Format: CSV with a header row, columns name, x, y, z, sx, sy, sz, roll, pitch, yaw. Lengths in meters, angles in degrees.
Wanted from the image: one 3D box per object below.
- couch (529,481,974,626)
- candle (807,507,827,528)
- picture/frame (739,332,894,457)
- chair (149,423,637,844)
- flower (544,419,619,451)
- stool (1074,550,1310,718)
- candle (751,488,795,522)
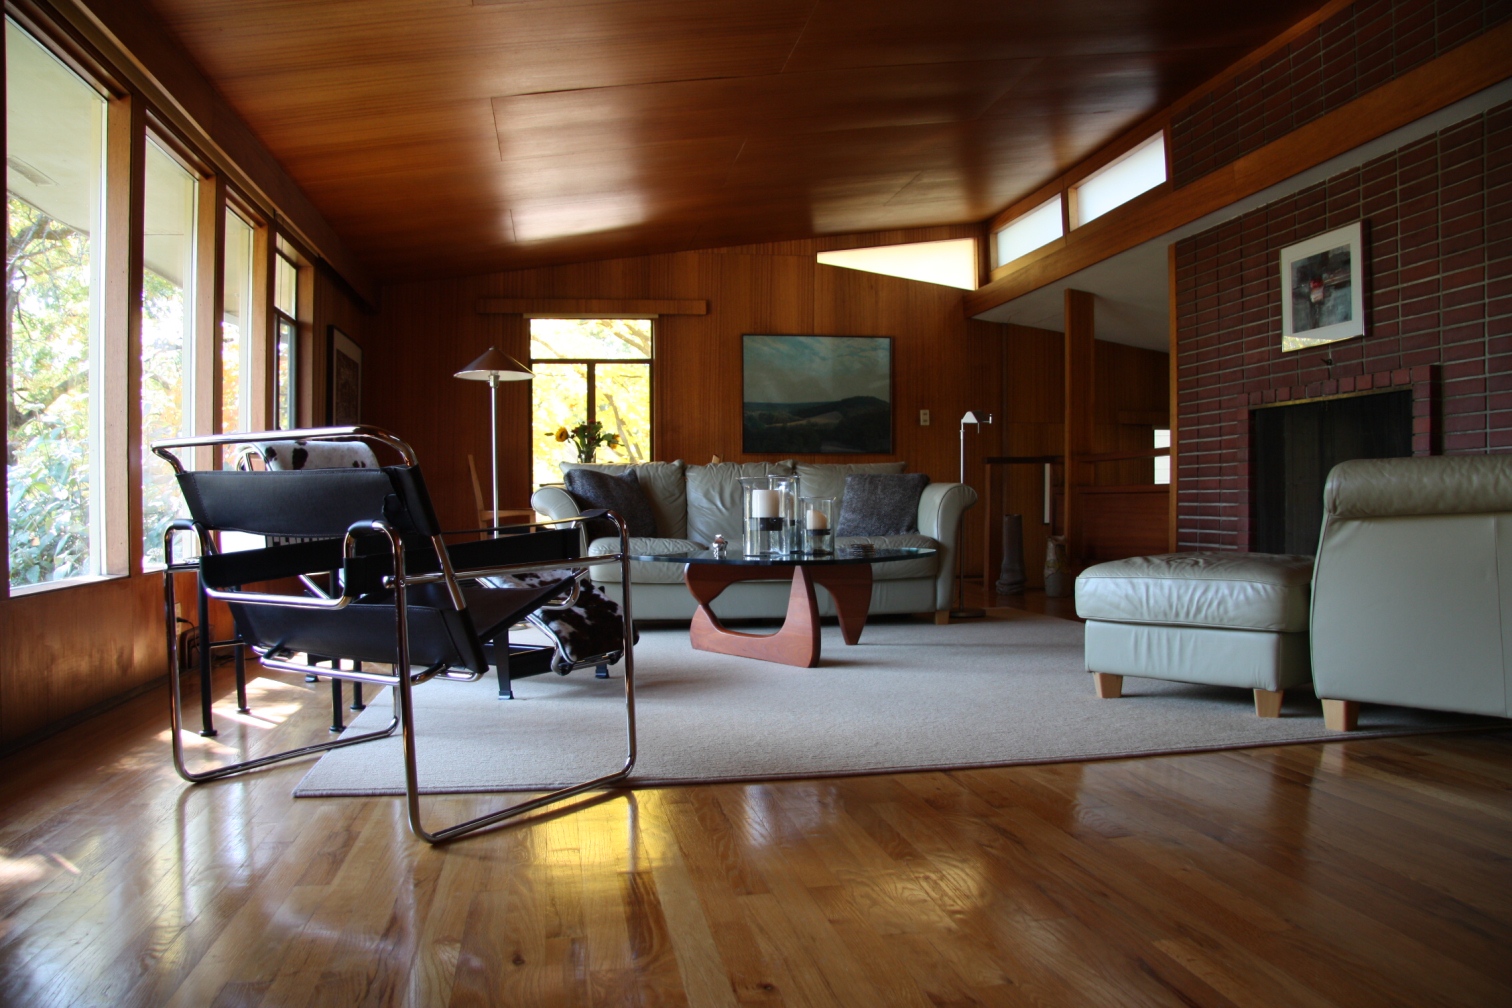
name,x,y,z,sx,sy,sz,roll,pitch,yaw
couch,-0.037,0.229,6.273,2.535,0.792,0.847,-1,9,-13
candle,0.292,0.069,5.170,0.107,0.103,0.099,0,-8,2
picture/frame,0.497,-0.908,9.018,1.224,0.984,0.380,0,11,2
chair,-1.141,0.323,3.365,1.247,1.014,0.919,-1,3,38
flower,-1.320,-0.512,8.322,0.360,0.159,0.330,-1,-12,-4
stool,1.640,0.453,4.015,0.714,0.405,0.692,-4,-6,29
candle,0.063,0.004,4.957,0.183,0.109,0.169,-1,2,7
